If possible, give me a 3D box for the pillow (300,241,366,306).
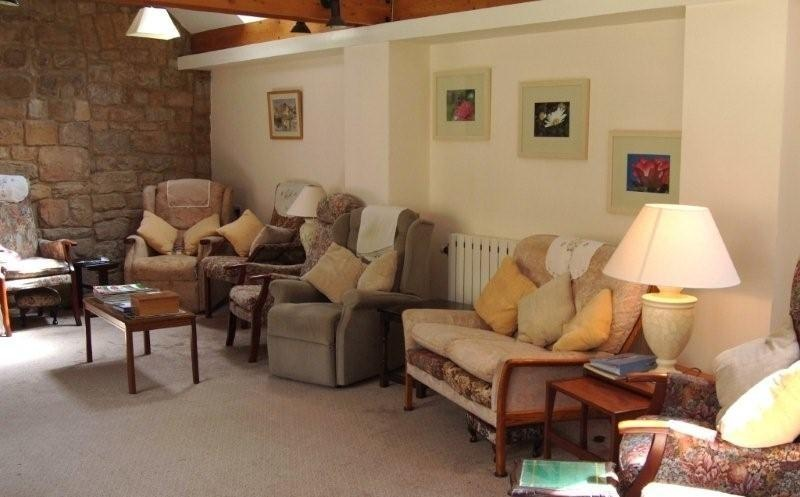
[{"bbox_3d":[-0.597,0.225,5.223,0.503,0.483,0.153,36,-6,15],"label":"pillow"}]

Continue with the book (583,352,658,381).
[{"bbox_3d":[1.332,0.714,3.559,0.222,0.049,0.210,-7,8,-32],"label":"book"}]

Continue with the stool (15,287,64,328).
[{"bbox_3d":[-4.010,0.627,6.360,0.396,0.358,0.502,-2,8,-30],"label":"stool"}]

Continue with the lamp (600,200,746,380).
[{"bbox_3d":[1.661,0.167,3.953,0.985,1.169,0.990,-7,13,-36],"label":"lamp"}]

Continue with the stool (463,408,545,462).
[{"bbox_3d":[0.732,1.235,3.855,0.283,0.168,0.397,2,-1,-24],"label":"stool"}]

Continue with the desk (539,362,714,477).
[{"bbox_3d":[1.211,1.038,3.507,0.369,0.351,0.579,-5,8,-22],"label":"desk"}]

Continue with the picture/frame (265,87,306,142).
[{"bbox_3d":[-1.380,-1.642,7.006,0.733,0.666,0.048,8,14,42],"label":"picture/frame"}]

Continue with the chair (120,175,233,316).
[{"bbox_3d":[-2.804,-0.129,7.344,1.510,1.799,1.648,1,3,11],"label":"chair"}]

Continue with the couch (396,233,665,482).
[{"bbox_3d":[0.911,0.737,4.432,1.564,1.593,2.026,-1,2,-28],"label":"couch"}]

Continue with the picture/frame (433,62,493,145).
[{"bbox_3d":[0.591,-1.357,5.476,0.099,0.662,0.690,-10,15,-40],"label":"picture/frame"}]

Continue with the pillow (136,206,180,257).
[{"bbox_3d":[-2.967,-0.190,7.025,0.392,0.487,0.368,0,11,-2],"label":"pillow"}]

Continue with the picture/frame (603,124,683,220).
[{"bbox_3d":[1.839,-0.580,4.296,0.040,0.853,0.802,1,5,-41],"label":"picture/frame"}]

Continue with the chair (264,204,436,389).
[{"bbox_3d":[-0.465,0.402,5.476,1.448,1.705,1.632,1,1,44],"label":"chair"}]

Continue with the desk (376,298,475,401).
[{"bbox_3d":[0.218,0.807,4.973,0.798,0.720,0.794,-4,5,-42],"label":"desk"}]

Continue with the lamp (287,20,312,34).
[{"bbox_3d":[-1.051,-2.291,6.088,0.191,0.192,0.194,0,11,-9],"label":"lamp"}]

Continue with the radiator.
[{"bbox_3d":[0.708,0.162,5.140,0.737,0.619,0.050,4,4,43],"label":"radiator"}]

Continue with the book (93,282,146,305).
[{"bbox_3d":[-2.534,0.390,5.147,0.279,0.060,0.275,-3,11,-35],"label":"book"}]

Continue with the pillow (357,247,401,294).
[{"bbox_3d":[-0.236,0.264,5.125,0.319,0.433,0.553,7,-18,-31],"label":"pillow"}]

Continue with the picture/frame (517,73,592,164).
[{"bbox_3d":[1.323,-1.098,4.832,0.059,0.745,0.812,-3,8,-45],"label":"picture/frame"}]

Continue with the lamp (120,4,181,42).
[{"bbox_3d":[-2.283,-1.997,5.234,0.432,0.223,0.430,-2,8,-45],"label":"lamp"}]
